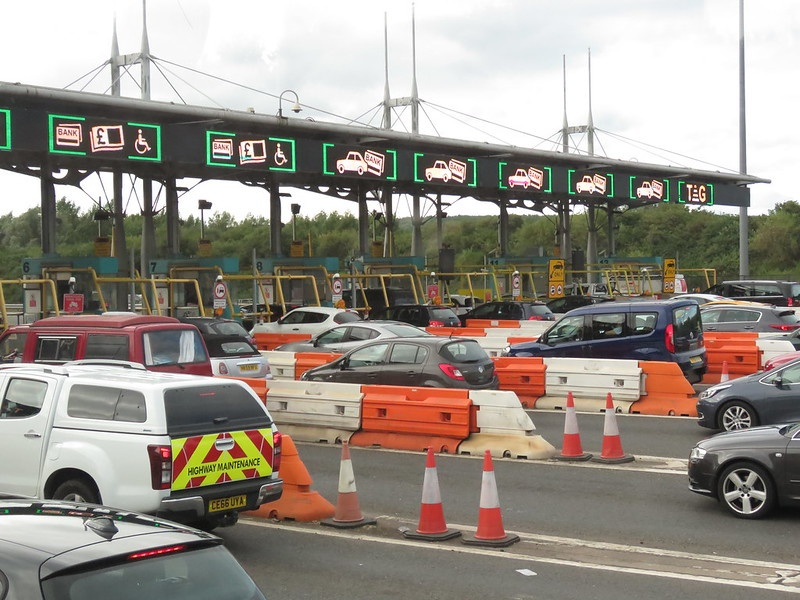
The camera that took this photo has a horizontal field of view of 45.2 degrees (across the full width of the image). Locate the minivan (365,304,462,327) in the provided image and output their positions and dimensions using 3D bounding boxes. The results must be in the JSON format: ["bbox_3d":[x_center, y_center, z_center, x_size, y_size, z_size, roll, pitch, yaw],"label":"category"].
[{"bbox_3d":[0.549,0.445,30.447,2.052,0.792,1.102,5,4,26],"label":"minivan"}]

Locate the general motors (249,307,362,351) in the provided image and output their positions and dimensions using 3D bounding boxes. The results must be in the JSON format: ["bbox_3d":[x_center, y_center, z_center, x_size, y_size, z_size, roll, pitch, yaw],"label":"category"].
[{"bbox_3d":[-2.776,0.782,28.303,2.733,1.229,1.552,2,3,25],"label":"general motors"}]

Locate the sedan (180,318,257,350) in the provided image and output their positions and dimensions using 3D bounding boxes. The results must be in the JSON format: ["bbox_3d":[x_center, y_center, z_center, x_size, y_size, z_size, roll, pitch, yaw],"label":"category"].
[{"bbox_3d":[-3.904,0.623,20.033,1.109,0.516,0.666,8,8,39],"label":"sedan"}]

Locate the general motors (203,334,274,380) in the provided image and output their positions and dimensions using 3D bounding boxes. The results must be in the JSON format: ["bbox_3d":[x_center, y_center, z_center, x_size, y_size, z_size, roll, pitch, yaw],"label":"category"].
[{"bbox_3d":[-3.352,1.145,19.659,0.746,0.580,1.238,-2,8,-37],"label":"general motors"}]

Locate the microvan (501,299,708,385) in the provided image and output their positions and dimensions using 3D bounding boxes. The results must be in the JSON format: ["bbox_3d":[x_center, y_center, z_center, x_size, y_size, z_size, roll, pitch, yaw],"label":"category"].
[{"bbox_3d":[4.746,0.743,20.636,3.281,1.530,1.802,4,3,28],"label":"microvan"}]

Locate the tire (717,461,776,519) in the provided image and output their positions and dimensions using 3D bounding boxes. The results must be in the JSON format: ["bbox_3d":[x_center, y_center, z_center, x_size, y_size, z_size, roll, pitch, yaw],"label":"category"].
[{"bbox_3d":[4.351,2.361,11.950,0.259,0.701,0.732,7,-13,-40],"label":"tire"}]

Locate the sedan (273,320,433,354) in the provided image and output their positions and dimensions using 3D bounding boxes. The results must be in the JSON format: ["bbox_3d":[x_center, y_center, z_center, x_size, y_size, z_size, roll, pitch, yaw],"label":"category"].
[{"bbox_3d":[-1.149,0.874,23.108,2.587,0.821,1.183,1,0,29],"label":"sedan"}]

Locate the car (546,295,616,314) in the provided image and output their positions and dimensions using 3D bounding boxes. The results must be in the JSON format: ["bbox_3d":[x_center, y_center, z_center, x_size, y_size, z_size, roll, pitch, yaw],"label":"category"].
[{"bbox_3d":[6.582,0.129,36.321,2.072,0.742,1.172,6,9,44],"label":"car"}]
